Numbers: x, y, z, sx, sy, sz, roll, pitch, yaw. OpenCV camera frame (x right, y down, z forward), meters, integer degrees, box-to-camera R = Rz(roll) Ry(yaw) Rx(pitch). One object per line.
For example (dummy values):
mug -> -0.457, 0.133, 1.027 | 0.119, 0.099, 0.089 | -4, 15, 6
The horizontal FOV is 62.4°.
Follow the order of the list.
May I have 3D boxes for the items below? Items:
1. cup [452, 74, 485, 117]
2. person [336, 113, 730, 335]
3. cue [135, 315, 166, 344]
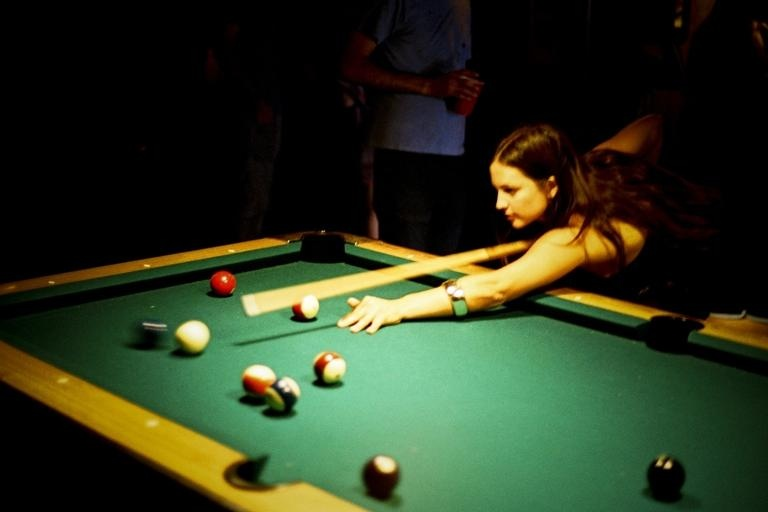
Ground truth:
cup -> 0.628, -1.227, 4.799 | 0.165, 0.309, 0.334 | 8, 12, 1
person -> 0.959, -0.252, 4.127 | 2.465, 1.030, 1.562 | -15, 18, -11
cue -> -1.146, 0.362, 3.123 | 0.124, 0.091, 0.126 | 10, 9, 28
